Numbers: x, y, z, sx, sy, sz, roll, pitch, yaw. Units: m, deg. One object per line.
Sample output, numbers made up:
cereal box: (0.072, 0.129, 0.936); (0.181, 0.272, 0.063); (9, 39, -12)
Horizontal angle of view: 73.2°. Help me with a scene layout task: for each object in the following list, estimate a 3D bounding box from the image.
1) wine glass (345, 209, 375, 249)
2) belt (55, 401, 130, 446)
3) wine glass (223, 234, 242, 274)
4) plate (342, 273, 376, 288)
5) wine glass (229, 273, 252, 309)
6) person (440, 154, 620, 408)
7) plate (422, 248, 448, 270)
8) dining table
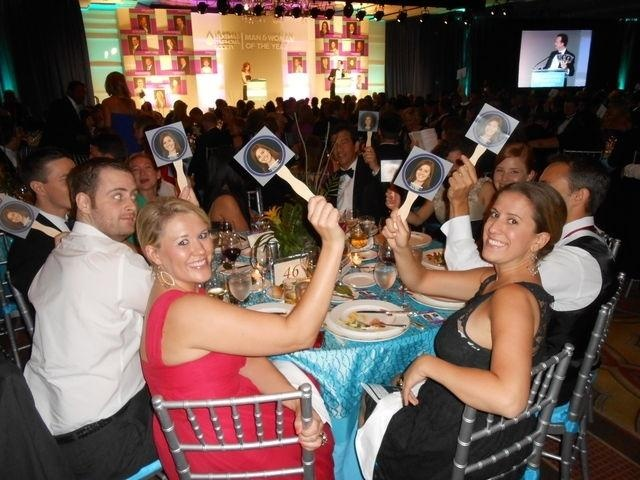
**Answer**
wine glass: (0.273, -0.064, 3.160); (0.220, 0.235, 0.245); (-4, 5, -44)
belt: (-1.065, 0.851, 2.023); (0.151, 0.037, 0.148); (-30, 0, -4)
wine glass: (-0.570, 0.090, 2.789); (0.101, 0.104, 0.220); (-21, -8, -18)
plate: (0.243, 0.238, 2.636); (0.111, 0.017, 0.110); (-4, 26, -12)
wine glass: (-0.424, 0.266, 2.297); (0.116, 0.192, 0.125); (12, 23, 28)
person: (1.265, 0.320, 2.691); (0.883, 1.604, 0.701); (3, 45, 37)
plate: (0.756, 0.124, 2.850); (0.137, 0.021, 0.134); (-5, 31, 7)
dining table: (0.148, 0.616, 2.447); (1.038, 0.676, 1.016); (-11, 27, -19)
